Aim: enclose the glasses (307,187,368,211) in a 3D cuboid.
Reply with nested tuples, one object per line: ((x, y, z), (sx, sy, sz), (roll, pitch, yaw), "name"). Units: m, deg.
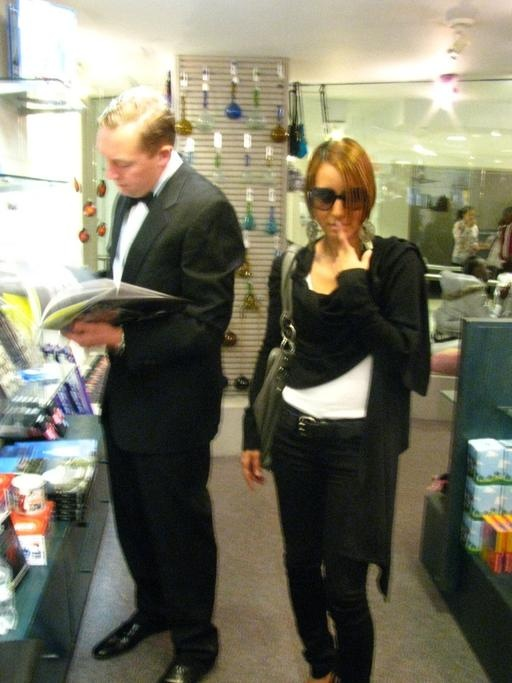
((0.133, -0.236, 0.906), (0.096, 0.035, 0.032), (2, 17, 9), "glasses")

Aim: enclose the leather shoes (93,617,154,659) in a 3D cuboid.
((-0.381, 0.862, 1.662), (0.071, 0.082, 0.209), (8, 10, 34), "leather shoes")

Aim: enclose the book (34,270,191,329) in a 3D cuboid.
((-0.266, -0.075, 1.006), (0.213, 0.053, 0.126), (-8, -20, 3), "book")

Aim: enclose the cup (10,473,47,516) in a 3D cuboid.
((-0.497, 0.340, 1.249), (0.087, 0.086, 0.084), (2, 10, 0), "cup")
